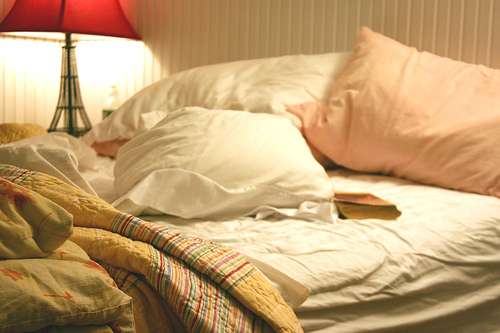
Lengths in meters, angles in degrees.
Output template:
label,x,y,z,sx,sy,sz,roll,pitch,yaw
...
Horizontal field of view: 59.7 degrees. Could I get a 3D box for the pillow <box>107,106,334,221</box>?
label,x,y,z,sx,sy,sz,roll,pitch,yaw
pillow,-0.088,0.037,1.387,0.472,0.147,0.418,-1,34,-11

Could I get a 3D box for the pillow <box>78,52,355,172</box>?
label,x,y,z,sx,sy,sz,roll,pitch,yaw
pillow,-0.148,-0.335,1.959,0.788,0.244,0.707,-8,15,24
